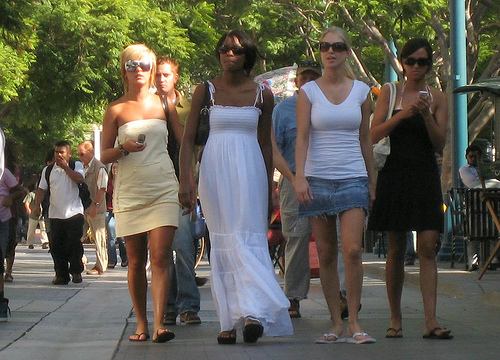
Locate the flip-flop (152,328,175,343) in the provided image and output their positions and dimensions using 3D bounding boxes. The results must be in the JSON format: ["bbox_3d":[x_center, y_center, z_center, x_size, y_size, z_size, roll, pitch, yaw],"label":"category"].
[{"bbox_3d":[-0.735,1.348,5.554,0.074,0.060,0.200,19,-35,-37],"label":"flip-flop"}]

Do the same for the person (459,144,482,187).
[{"bbox_3d":[4.303,-0.263,12.527,0.399,0.818,0.960,-1,1,18],"label":"person"}]

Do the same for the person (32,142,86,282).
[{"bbox_3d":[-3.302,0.557,11.199,0.990,2.469,0.861,-4,-7,10],"label":"person"}]

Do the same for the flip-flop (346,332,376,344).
[{"bbox_3d":[0.951,1.358,5.500,0.244,0.081,0.099,-7,-9,44],"label":"flip-flop"}]

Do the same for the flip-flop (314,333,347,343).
[{"bbox_3d":[0.697,1.373,5.528,0.275,0.078,0.097,3,-8,-19],"label":"flip-flop"}]

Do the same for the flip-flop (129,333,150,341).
[{"bbox_3d":[-0.996,1.405,5.754,0.175,0.050,0.116,-1,1,-11],"label":"flip-flop"}]

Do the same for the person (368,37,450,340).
[{"bbox_3d":[1.466,0.050,5.935,0.713,2.731,0.555,-1,1,16],"label":"person"}]

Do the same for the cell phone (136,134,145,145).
[{"bbox_3d":[-0.978,-0.354,5.719,0.065,0.109,0.065,20,1,-5],"label":"cell phone"}]

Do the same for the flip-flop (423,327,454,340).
[{"bbox_3d":[1.671,1.355,5.685,0.243,0.077,0.090,-5,-6,38],"label":"flip-flop"}]

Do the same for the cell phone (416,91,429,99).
[{"bbox_3d":[1.551,-0.768,5.784,0.109,0.105,0.029,2,20,-14],"label":"cell phone"}]

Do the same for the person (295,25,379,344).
[{"bbox_3d":[0.764,0.003,5.703,0.683,2.787,0.512,-1,1,9],"label":"person"}]

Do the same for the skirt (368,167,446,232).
[{"bbox_3d":[1.465,0.220,6.154,0.915,0.828,0.533,0,-8,5],"label":"skirt"}]

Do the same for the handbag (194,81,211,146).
[{"bbox_3d":[-0.408,-0.549,5.781,0.105,0.416,0.246,9,-1,-1],"label":"handbag"}]

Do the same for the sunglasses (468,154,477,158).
[{"bbox_3d":[4.406,-0.460,12.674,0.178,0.069,0.059,-1,1,-25],"label":"sunglasses"}]

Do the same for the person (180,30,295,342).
[{"bbox_3d":[-0.146,0.020,5.665,0.936,2.724,0.682,-1,1,-6],"label":"person"}]

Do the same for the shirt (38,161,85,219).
[{"bbox_3d":[-3.295,0.162,11.337,0.844,0.957,0.533,0,8,9],"label":"shirt"}]

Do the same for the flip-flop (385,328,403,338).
[{"bbox_3d":[1.315,1.391,5.834,0.151,0.069,0.141,-1,1,10],"label":"flip-flop"}]

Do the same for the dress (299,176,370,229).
[{"bbox_3d":[0.759,0.336,5.671,0.703,0.487,0.385,0,-12,9],"label":"dress"}]

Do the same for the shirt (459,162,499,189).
[{"bbox_3d":[4.316,-0.066,12.224,0.472,0.627,0.582,1,-12,-5],"label":"shirt"}]

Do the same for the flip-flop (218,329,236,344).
[{"bbox_3d":[-0.203,1.370,5.614,0.155,0.140,0.080,3,-11,6],"label":"flip-flop"}]

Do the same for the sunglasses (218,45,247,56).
[{"bbox_3d":[-0.158,-1.153,5.766,0.253,0.100,0.081,-1,1,0],"label":"sunglasses"}]

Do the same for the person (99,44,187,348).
[{"bbox_3d":[-0.988,0.085,5.868,0.750,1.990,0.614,-1,1,13],"label":"person"}]

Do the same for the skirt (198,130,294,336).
[{"bbox_3d":[-0.051,0.464,5.594,0.790,1.806,0.511,-1,1,-5],"label":"skirt"}]

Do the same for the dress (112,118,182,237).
[{"bbox_3d":[-0.931,0.122,5.878,0.624,1.310,0.412,9,-30,-35],"label":"dress"}]
